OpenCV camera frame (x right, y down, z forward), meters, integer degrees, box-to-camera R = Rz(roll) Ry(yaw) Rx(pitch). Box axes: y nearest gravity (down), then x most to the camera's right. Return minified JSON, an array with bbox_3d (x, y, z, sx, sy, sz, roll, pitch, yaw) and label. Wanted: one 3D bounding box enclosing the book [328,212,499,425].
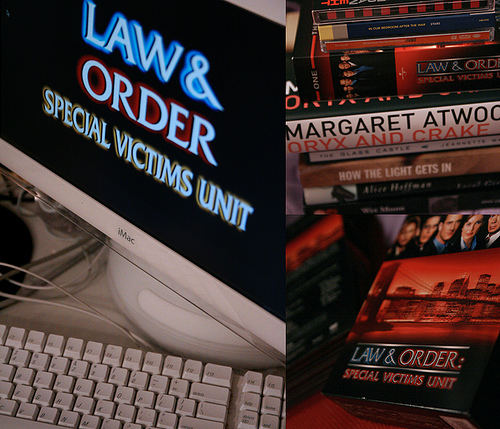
[{"bbox_3d":[0.194,0.112,0.675,0.180,0.217,0.135,4,13,21],"label":"book"}]
